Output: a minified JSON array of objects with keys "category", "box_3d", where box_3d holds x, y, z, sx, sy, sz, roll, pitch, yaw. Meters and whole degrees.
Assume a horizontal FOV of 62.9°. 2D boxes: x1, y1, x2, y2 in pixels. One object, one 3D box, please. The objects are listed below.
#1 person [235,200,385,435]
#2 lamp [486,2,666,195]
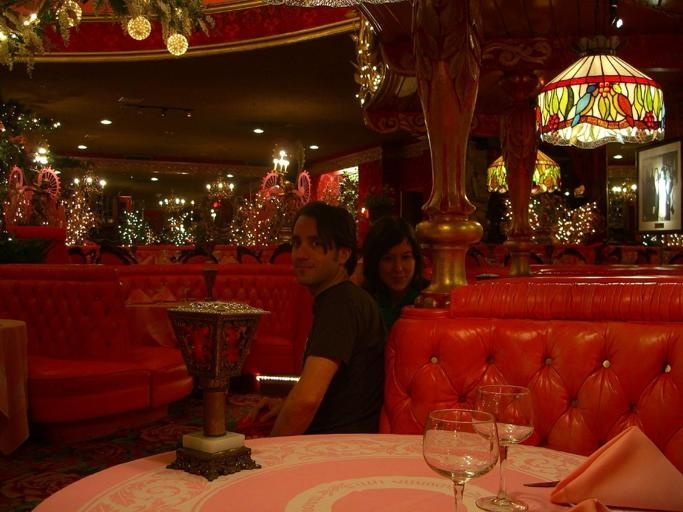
[{"category":"person","box_3d":[0.010,0.328,2.620,0.755,1.197,0.804,3,-11,-1]},{"category":"lamp","box_3d":[1.790,-1.178,4.095,0.849,1.250,1.365,1,2,5]}]
